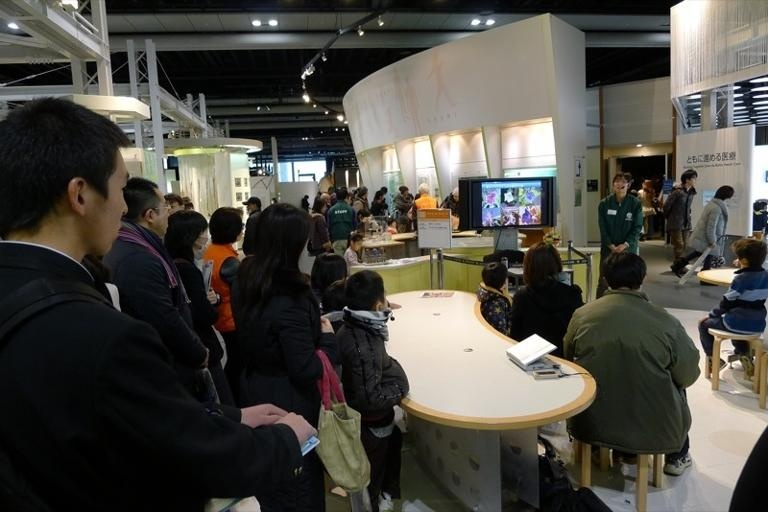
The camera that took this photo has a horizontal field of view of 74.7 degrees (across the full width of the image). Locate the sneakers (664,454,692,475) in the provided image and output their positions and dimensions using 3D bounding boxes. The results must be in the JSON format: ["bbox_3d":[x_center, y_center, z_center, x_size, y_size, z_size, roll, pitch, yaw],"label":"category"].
[{"bbox_3d":[1.783,1.298,3.085,0.212,0.099,0.074,-8,8,-41],"label":"sneakers"}]

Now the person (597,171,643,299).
[{"bbox_3d":[2.668,-0.130,5.824,0.452,1.719,0.441,6,34,28],"label":"person"}]

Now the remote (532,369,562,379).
[{"bbox_3d":[0.853,0.627,2.652,0.088,0.022,0.062,0,6,0],"label":"remote"}]

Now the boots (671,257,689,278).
[{"bbox_3d":[4.417,0.189,7.573,0.267,0.266,0.134,17,21,-31],"label":"boots"}]

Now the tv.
[{"bbox_3d":[1.250,-0.369,4.980,0.989,0.911,0.293,0,4,2],"label":"tv"}]
